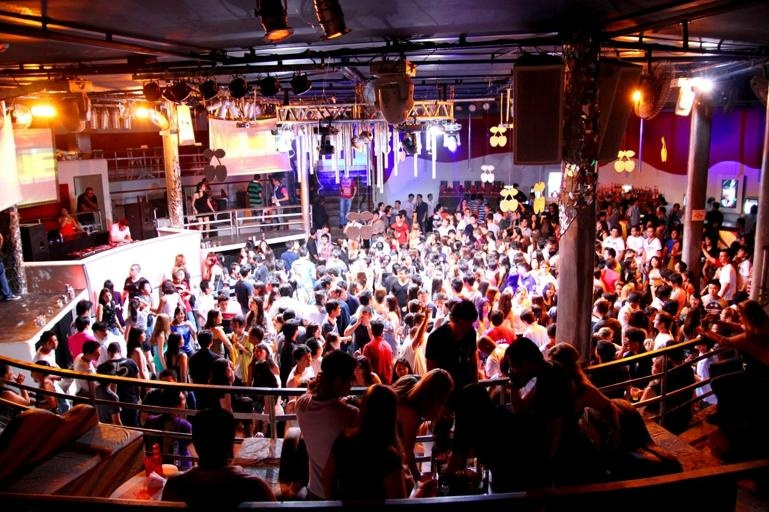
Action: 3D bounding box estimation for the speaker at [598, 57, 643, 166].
[{"bbox_3d":[2.861,-1.771,6.877,0.696,1.236,0.268,-11,12,-39],"label":"speaker"}]
